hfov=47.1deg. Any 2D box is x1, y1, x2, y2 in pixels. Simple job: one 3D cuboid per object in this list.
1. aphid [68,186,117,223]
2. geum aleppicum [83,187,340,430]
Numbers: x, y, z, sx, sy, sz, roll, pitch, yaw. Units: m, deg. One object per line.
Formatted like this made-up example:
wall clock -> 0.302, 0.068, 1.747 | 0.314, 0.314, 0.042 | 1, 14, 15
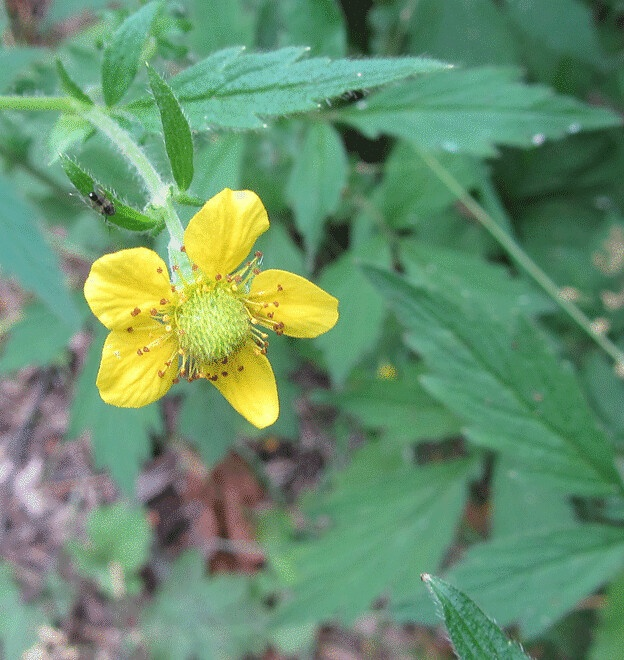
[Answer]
aphid -> -0.438, -0.264, 1.494 | 0.080, 0.057, 0.045 | 31, 52, 15
geum aleppicum -> -0.196, -0.053, 1.704 | 0.584, 0.498, 0.237 | 20, 15, -16
